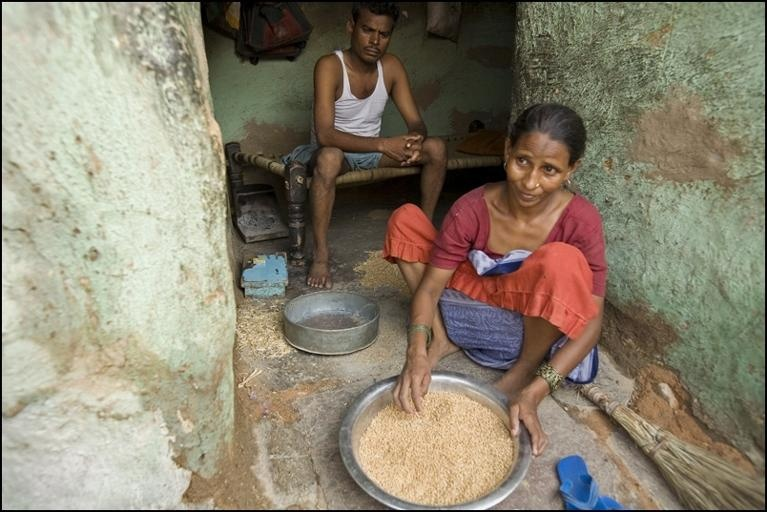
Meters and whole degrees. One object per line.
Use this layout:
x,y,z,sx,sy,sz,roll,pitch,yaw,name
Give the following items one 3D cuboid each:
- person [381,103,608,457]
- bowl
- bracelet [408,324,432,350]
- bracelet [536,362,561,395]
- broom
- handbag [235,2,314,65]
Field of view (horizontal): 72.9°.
0.506,0.010,2.243,1.010,1.186,0.965,21,29,34,person
0.189,0.682,1.948,0.689,0.203,0.621,-2,21,-17,bowl
0.169,0.351,2.267,0.102,0.100,0.079,7,-9,39,bracelet
0.673,0.484,2.104,0.093,0.094,0.072,17,25,30,bracelet
1.060,0.691,1.943,0.187,0.127,0.549,-41,44,-14,broom
-0.881,-1.781,4.180,0.590,0.476,0.286,-2,23,-17,handbag
